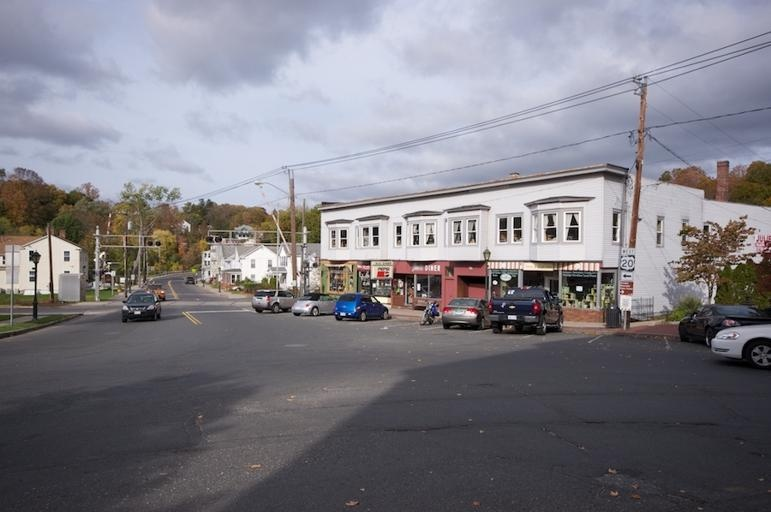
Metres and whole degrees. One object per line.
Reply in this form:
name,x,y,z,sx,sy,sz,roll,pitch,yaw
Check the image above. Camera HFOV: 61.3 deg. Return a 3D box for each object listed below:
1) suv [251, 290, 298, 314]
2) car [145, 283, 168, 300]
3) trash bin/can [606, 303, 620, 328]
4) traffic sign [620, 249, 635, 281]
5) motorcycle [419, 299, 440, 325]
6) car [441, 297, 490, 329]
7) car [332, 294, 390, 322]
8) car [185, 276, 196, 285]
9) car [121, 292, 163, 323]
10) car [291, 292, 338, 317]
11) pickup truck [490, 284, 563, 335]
suv,-7.650,3.212,45.275,1.415,1.091,2.640,0,1,38
car,-23.231,3.573,66.167,1.286,1.027,2.722,0,-6,-12
trash bin/can,11.613,3.085,33.169,0.880,1.342,0.918,1,-7,-4
traffic sign,12.189,0.421,32.581,0.567,1.562,0.707,2,8,14
motorcycle,2.340,3.316,36.225,0.749,1.058,1.607,-2,-16,27
car,4.073,2.938,32.697,2.337,1.511,1.428,0,8,-1
car,-1.433,3.024,38.281,1.460,1.146,2.480,-2,0,44
car,-36.229,4.605,120.780,1.177,0.997,2.005,0,1,-6
car,-13.732,3.066,36.686,1.769,1.439,2.395,-2,7,-12
car,-4.488,3.123,41.905,1.309,1.088,2.942,-3,-7,22
pickup truck,6.960,2.533,30.493,1.859,1.357,3.477,-1,-1,29
